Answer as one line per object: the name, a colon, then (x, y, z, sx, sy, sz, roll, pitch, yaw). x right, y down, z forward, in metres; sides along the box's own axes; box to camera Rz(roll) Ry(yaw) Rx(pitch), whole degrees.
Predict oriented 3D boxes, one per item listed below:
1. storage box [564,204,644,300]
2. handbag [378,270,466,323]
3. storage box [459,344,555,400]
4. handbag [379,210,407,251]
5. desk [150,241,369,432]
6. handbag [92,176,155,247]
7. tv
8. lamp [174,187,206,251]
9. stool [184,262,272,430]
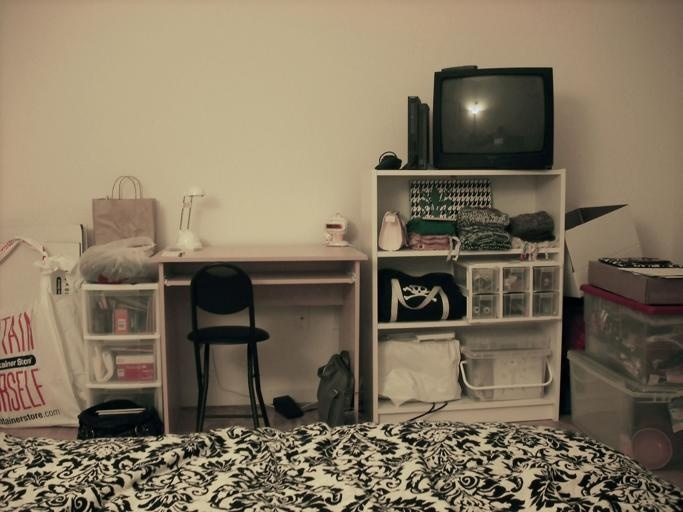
storage box: (1.576, -0.010, 3.808, 0.484, 0.486, 0.357, -14, 0, -12)
handbag: (0.462, 0.256, 3.828, 0.429, 0.276, 0.339, 0, 1, -6)
storage box: (0.999, 0.738, 4.037, 0.616, 0.323, 0.482, -2, 4, -15)
handbag: (0.304, -0.152, 3.844, 0.172, 0.234, 0.117, -2, 7, 3)
desk: (-0.337, 0.428, 3.822, 0.877, 0.860, 0.616, -2, 4, -11)
handbag: (-1.391, -0.272, 3.957, 0.416, 0.596, 0.190, 1, 8, -5)
tv: (0.837, -0.736, 3.983, 0.895, 0.875, 0.531, 0, 4, 3)
lamp: (-0.945, -0.237, 3.906, 0.196, 0.382, 0.381, -3, 7, -12)
stool: (-0.672, 0.534, 3.736, 0.458, 1.051, 0.722, -3, 7, -12)
